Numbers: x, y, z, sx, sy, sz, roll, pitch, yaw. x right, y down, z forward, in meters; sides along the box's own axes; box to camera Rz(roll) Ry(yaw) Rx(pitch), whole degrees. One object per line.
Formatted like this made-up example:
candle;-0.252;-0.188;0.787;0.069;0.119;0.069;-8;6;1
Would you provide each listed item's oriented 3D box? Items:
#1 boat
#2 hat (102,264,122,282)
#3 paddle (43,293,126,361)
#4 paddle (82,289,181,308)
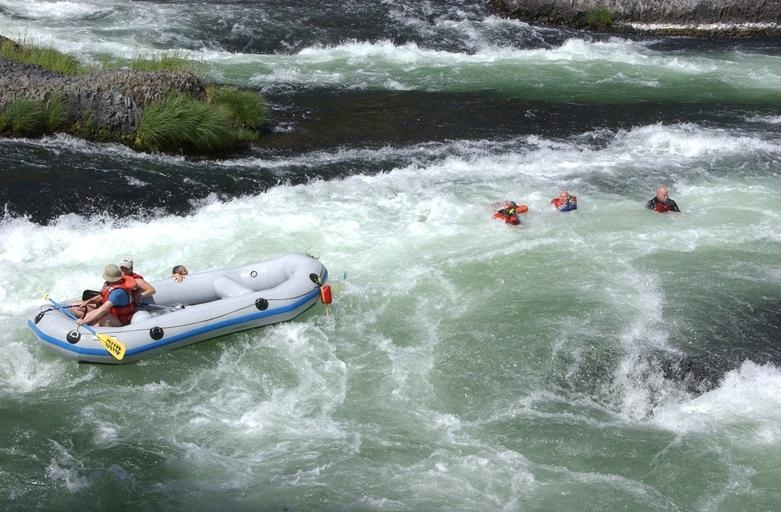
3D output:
boat;-4.387;1.153;18.257;5.373;0.792;2.526;-12;34;-16
hat;-6.076;0.349;17.672;0.410;0.203;0.397;2;41;-17
paddle;-6.609;1.607;17.580;2.800;0.369;0.192;28;-8;17
paddle;-5.852;1.030;18.158;1.313;0.330;0.817;2;5;-8
